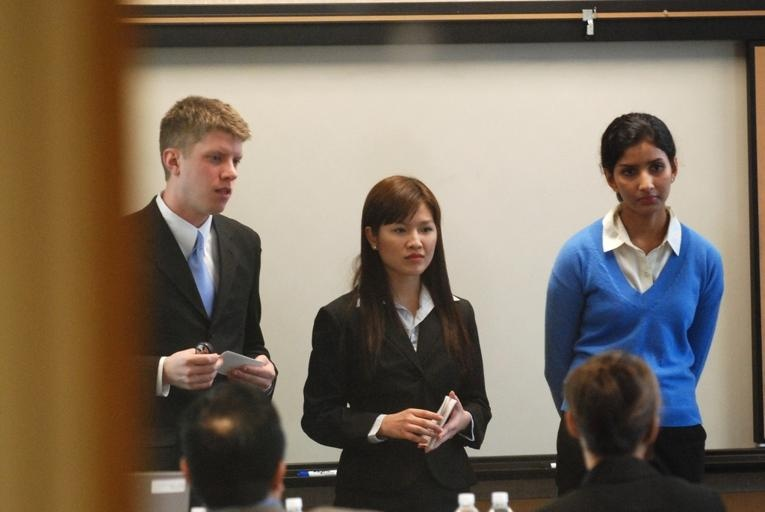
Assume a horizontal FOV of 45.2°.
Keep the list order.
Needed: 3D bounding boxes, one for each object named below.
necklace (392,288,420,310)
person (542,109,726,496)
[{"bbox_3d":[0.085,0.150,3.144,0.080,0.075,0.070,0,2,-9],"label":"necklace"},{"bbox_3d":[0.862,0.424,3.145,0.551,1.723,0.474,-1,1,10],"label":"person"}]
